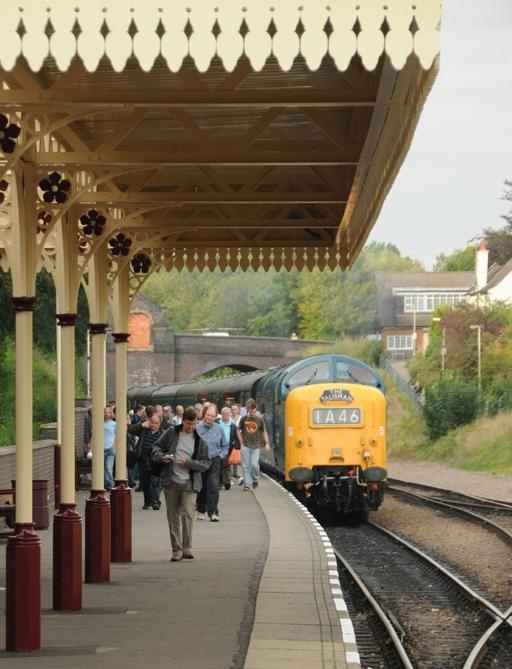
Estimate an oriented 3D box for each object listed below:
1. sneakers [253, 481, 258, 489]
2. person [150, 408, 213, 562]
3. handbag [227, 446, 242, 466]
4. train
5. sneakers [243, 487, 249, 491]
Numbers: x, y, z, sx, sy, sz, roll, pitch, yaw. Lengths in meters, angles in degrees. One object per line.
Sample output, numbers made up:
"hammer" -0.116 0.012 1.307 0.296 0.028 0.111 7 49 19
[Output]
"sneakers" -0.024 2.965 23.560 0.052 0.192 0.073 -3 0 4
"person" -0.856 1.646 12.981 0.587 1.639 0.691 1 -5 -20
"handbag" -0.393 2.157 21.161 0.272 0.459 0.255 1 -10 -1
"train" -0.679 1.820 29.638 2.271 4.296 19.794 0 0 -9
"sneakers" -0.205 2.969 22.991 0.068 0.098 0.309 0 -5 -7
